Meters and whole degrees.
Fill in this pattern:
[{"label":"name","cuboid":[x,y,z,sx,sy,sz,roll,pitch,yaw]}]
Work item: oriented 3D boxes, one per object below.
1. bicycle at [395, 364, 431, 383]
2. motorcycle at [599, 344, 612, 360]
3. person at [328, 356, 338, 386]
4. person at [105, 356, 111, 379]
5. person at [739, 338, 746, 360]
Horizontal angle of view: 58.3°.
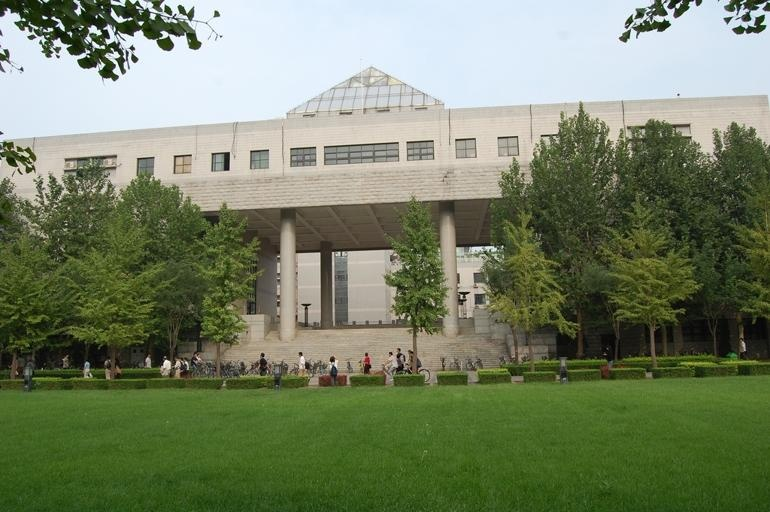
[{"label":"bicycle","cuboid":[1.748,6.950,40.975,2.159,1.210,1.060,1,-10,3]},{"label":"motorcycle","cuboid":[17.566,7.490,54.525,1.199,1.203,0.680,3,-11,-30]},{"label":"person","cuboid":[-2.798,6.346,38.364,0.418,1.590,1.588,-1,-10,-5]},{"label":"person","cuboid":[-17.274,7.042,43.234,0.409,1.029,1.601,1,-11,-21]},{"label":"person","cuboid":[23.057,5.891,44.508,0.421,1.412,2.262,-7,-11,24]}]
